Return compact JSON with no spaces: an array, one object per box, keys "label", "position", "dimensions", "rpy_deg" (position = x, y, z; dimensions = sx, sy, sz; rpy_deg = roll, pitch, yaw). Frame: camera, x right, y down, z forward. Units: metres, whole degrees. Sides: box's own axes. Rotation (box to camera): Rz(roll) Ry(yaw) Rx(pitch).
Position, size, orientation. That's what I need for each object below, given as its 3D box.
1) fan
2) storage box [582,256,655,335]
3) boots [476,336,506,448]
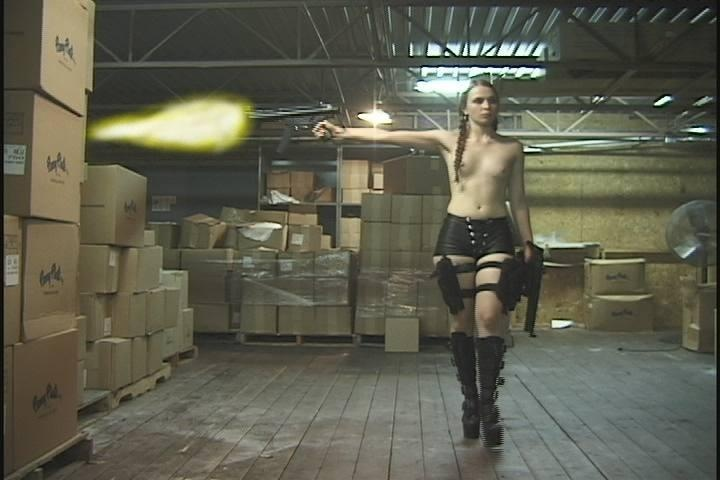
[{"label":"fan","position":[2.266,-0.050,4.066],"dimensions":[0.387,0.444,0.215],"rpy_deg":[-1,4,-23]},{"label":"storage box","position":[2.051,0.439,4.796],"dimensions":[0.640,0.600,0.543],"rpy_deg":[-1,-8,7]},{"label":"boots","position":[0.743,0.868,3.496],"dimensions":[0.163,0.632,0.113],"rpy_deg":[1,4,8]}]
